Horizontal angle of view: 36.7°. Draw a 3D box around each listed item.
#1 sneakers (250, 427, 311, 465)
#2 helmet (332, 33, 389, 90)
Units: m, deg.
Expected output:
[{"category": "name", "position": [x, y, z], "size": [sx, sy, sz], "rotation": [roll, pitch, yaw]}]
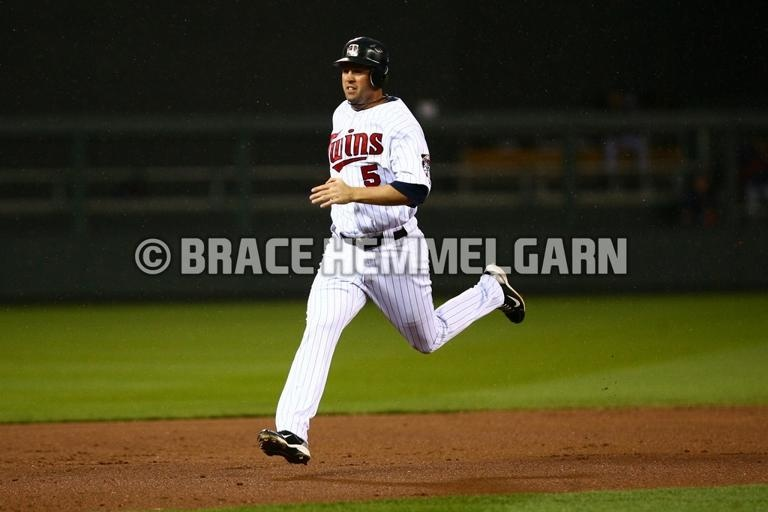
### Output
[{"category": "sneakers", "position": [-0.878, 1.675, 10.257], "size": [0.508, 0.291, 0.228], "rotation": [34, -57, -10]}, {"category": "helmet", "position": [-0.187, -1.760, 10.613], "size": [0.508, 0.412, 0.431], "rotation": [2, 9, -28]}]
